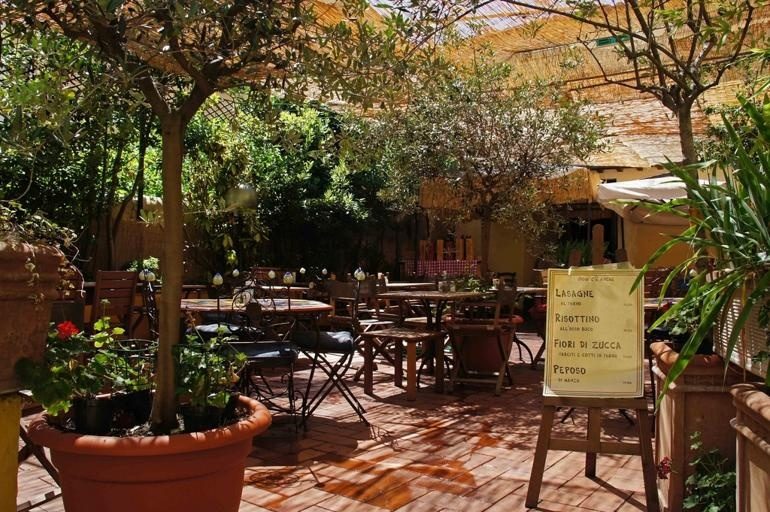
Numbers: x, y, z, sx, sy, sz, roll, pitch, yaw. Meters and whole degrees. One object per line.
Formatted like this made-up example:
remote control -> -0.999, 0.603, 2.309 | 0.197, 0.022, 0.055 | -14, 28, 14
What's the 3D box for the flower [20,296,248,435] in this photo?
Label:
flower -> -1.283, 0.652, 2.723 | 0.710, 0.461, 0.979 | 1, -2, 12
